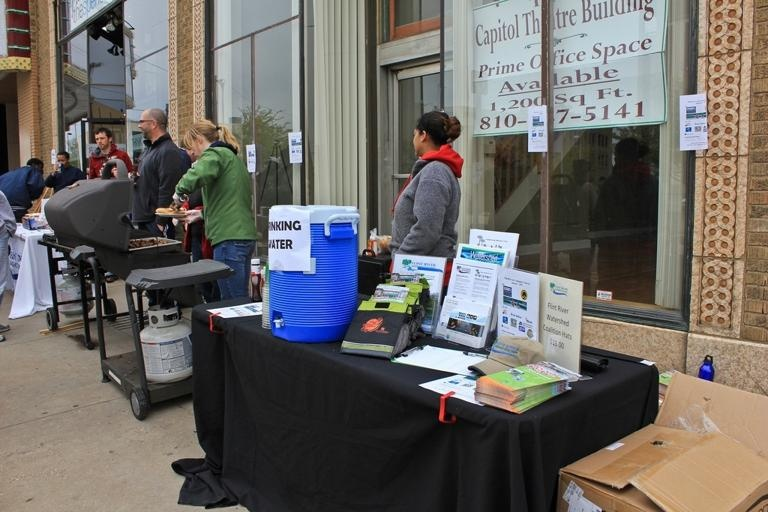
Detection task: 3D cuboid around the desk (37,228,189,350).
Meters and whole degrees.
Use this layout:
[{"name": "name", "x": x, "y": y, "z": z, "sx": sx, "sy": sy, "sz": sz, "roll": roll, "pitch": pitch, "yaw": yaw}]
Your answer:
[{"name": "desk", "x": -2.713, "y": 0.306, "z": 6.185, "sx": 1.528, "sy": 1.081, "sz": 0.947, "roll": 6, "pitch": 8, "yaw": 37}]

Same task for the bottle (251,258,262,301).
[{"name": "bottle", "x": -0.968, "y": 0.173, "z": 4.533, "sx": 0.088, "sy": 0.286, "sz": 0.256, "roll": -2, "pitch": 9, "yaw": -12}]

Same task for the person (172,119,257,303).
[{"name": "person", "x": -1.563, "y": -0.439, "z": 5.656, "sx": 0.685, "sy": 1.670, "sz": 0.636, "roll": -2, "pitch": 9, "yaw": -11}]

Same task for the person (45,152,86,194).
[{"name": "person", "x": -5.564, "y": -1.465, "z": 10.379, "sx": 0.521, "sy": 0.665, "sz": 0.911, "roll": -4, "pitch": 10, "yaw": -22}]

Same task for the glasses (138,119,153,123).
[{"name": "glasses", "x": -2.624, "y": -1.497, "z": 6.606, "sx": 0.131, "sy": 0.041, "sz": 0.030, "roll": 1, "pitch": 9, "yaw": 8}]

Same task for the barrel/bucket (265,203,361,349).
[{"name": "barrel/bucket", "x": -0.476, "y": 0.074, "z": 3.819, "sx": 0.506, "sy": 0.862, "sz": 0.795, "roll": -6, "pitch": 15, "yaw": -42}]

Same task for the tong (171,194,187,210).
[{"name": "tong", "x": -1.939, "y": -0.517, "z": 5.644, "sx": 0.138, "sy": 0.162, "sz": 0.453, "roll": -4, "pitch": 10, "yaw": -20}]
